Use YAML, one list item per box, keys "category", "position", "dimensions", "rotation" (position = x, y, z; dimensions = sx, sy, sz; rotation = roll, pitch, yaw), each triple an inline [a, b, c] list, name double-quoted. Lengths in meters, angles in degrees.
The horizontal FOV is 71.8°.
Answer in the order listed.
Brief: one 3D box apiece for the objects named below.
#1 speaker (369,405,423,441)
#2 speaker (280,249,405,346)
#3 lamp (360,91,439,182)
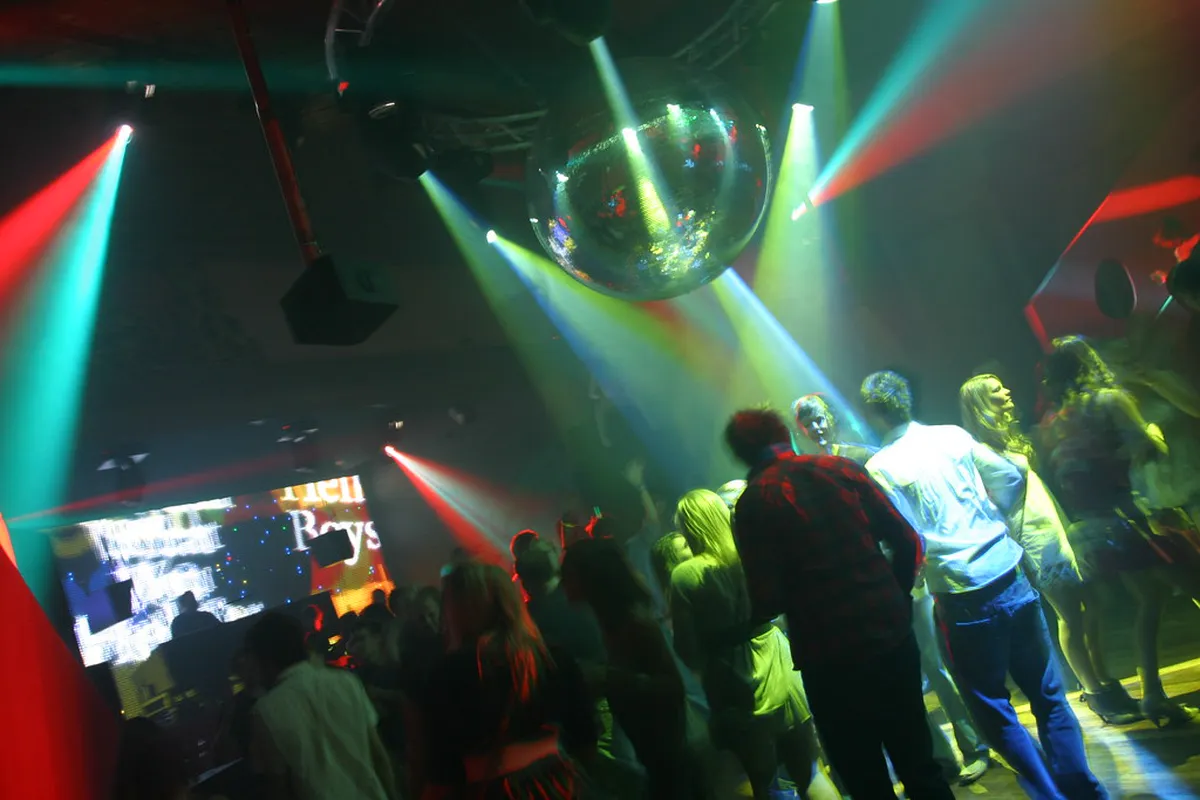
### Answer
- category: "speaker"
  position: [-2.402, 0.257, 9.651]
  dimensions: [0.338, 0.323, 0.610]
  rotation: [-12, -2, -1]
- category: "speaker"
  position: [-1.464, -0.531, 4.527]
  dimensions: [0.523, 0.368, 0.401]
  rotation: [-26, -22, 21]
- category: "lamp"
  position: [-1.381, -1.723, 5.464]
  dimensions: [0.366, 0.272, 0.519]
  rotation: [-14, -21, -10]
